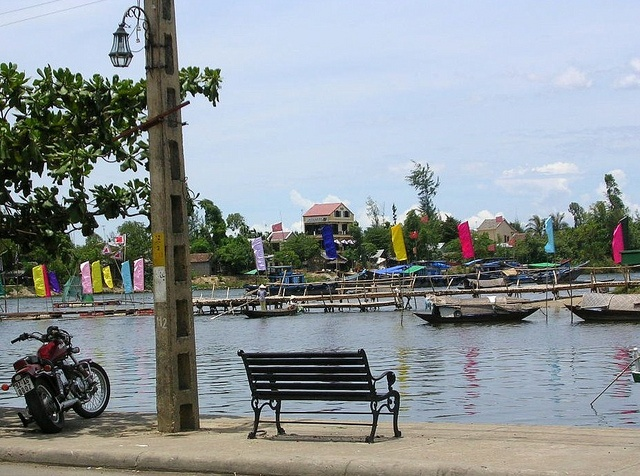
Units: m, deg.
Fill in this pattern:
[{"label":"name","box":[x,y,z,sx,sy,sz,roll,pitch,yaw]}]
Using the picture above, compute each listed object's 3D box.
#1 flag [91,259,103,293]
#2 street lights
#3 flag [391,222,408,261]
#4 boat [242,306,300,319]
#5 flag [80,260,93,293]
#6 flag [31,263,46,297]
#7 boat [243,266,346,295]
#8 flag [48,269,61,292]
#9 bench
[{"label":"flag","box":[-17.391,2.916,84.155,0.758,2.432,4.281,-4,-4,-12]},{"label":"street lights","box":[-3.384,-0.502,24.011,0.975,9.608,0.870,-4,-3,-13]},{"label":"flag","box":[5.247,-0.056,72.868,1.059,0.315,3.951,19,30,-15]},{"label":"boat","box":[-2.998,4.880,71.021,1.956,0.662,4.590,-8,-5,36]},{"label":"flag","box":[-17.555,2.944,81.472,0.782,2.476,2.990,-4,-4,-12]},{"label":"flag","box":[-21.715,3.282,83.879,0.972,2.437,3.888,-4,-4,-14]},{"label":"boat","box":[-2.735,3.717,96.981,8.657,2.769,2.186,-2,4,3]},{"label":"flag","box":[-22.737,3.630,92.674,0.227,2.308,2.114,-14,0,-31]},{"label":"bench","box":[0.047,3.420,23.416,3.396,1.838,1.613,-5,-7,38]}]
